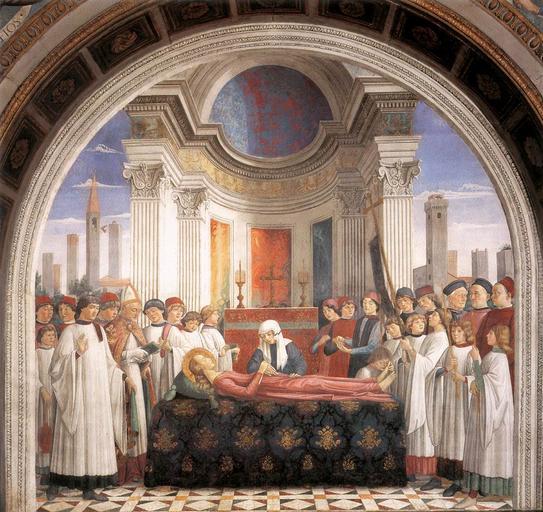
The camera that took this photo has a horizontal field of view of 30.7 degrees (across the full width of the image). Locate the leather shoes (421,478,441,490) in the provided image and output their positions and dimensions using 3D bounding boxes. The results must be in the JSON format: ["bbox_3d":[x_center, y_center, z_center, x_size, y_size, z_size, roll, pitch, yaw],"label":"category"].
[{"bbox_3d":[2.085,2.931,12.836,0.256,0.098,0.128,-2,1,-3],"label":"leather shoes"}]

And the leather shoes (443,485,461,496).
[{"bbox_3d":[2.319,2.976,12.678,0.110,0.091,0.279,38,-52,-17],"label":"leather shoes"}]

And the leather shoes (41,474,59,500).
[{"bbox_3d":[-2.813,2.930,12.699,0.190,0.308,0.065,1,-12,-12],"label":"leather shoes"}]

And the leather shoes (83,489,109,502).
[{"bbox_3d":[-2.245,3.041,12.675,0.374,0.140,0.119,-1,6,7],"label":"leather shoes"}]

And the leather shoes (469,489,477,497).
[{"bbox_3d":[2.559,2.962,12.502,0.119,0.082,0.066,-5,-25,27],"label":"leather shoes"}]
